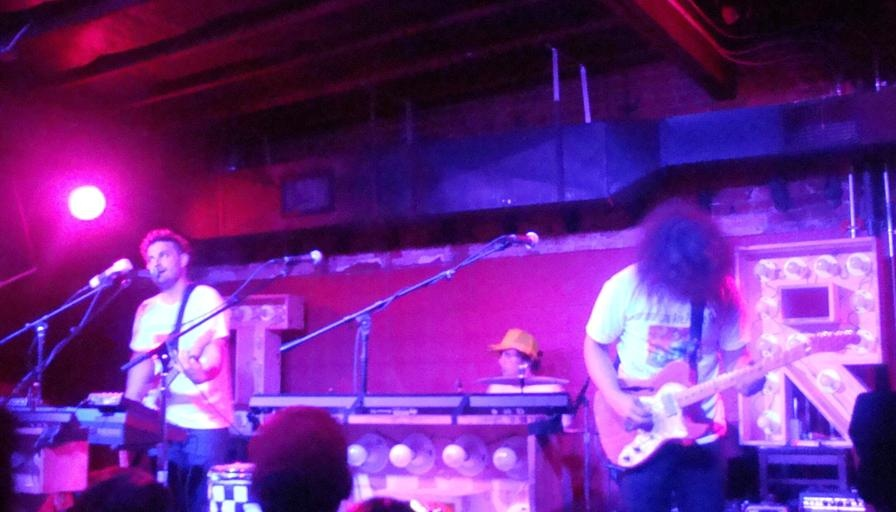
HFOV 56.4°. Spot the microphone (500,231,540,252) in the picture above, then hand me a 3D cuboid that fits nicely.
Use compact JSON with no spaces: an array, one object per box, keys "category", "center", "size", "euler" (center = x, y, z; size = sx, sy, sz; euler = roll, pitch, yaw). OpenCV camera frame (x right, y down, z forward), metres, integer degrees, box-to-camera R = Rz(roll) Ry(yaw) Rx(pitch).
[{"category":"microphone","center":[0.664,-0.138,7.484],"size":[0.360,0.248,0.126],"euler":[-1,-8,-4]}]

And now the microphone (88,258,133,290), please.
[{"category":"microphone","center":[-3.421,0.157,8.421],"size":[0.376,0.117,0.226],"euler":[-29,6,5]}]

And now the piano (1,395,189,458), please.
[{"category":"piano","center":[-2.975,1.405,7.007],"size":[1.379,0.378,0.332],"euler":[1,-18,-8]}]

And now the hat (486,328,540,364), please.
[{"category":"hat","center":[0.742,0.971,9.363],"size":[0.476,0.241,0.339],"euler":[22,-25,-12]}]

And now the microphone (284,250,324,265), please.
[{"category":"microphone","center":[-1.500,0.007,8.708],"size":[0.352,0.128,0.127],"euler":[-9,4,24]}]
